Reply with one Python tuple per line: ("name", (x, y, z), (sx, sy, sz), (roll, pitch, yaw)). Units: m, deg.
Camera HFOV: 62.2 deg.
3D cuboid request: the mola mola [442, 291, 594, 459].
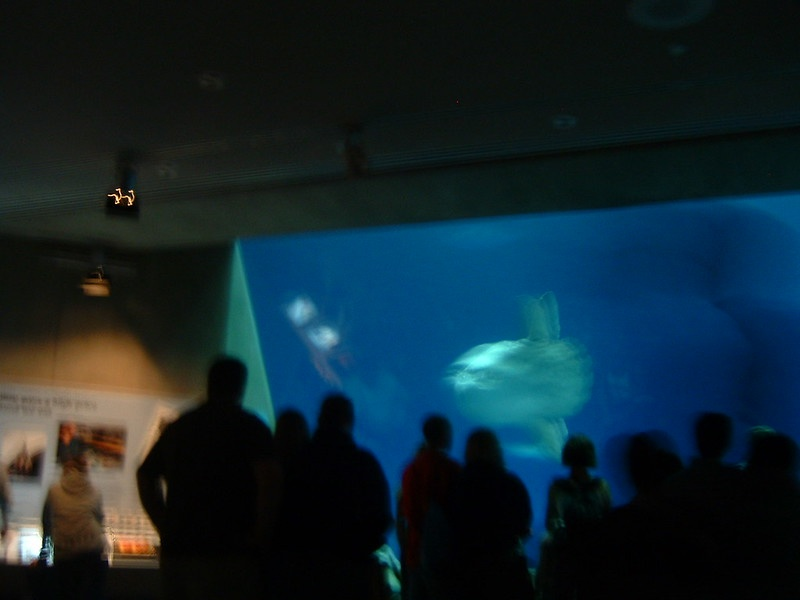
("mola mola", (0.469, 0.324, 2.657), (0.538, 0.775, 0.246), (0, -38, 10))
